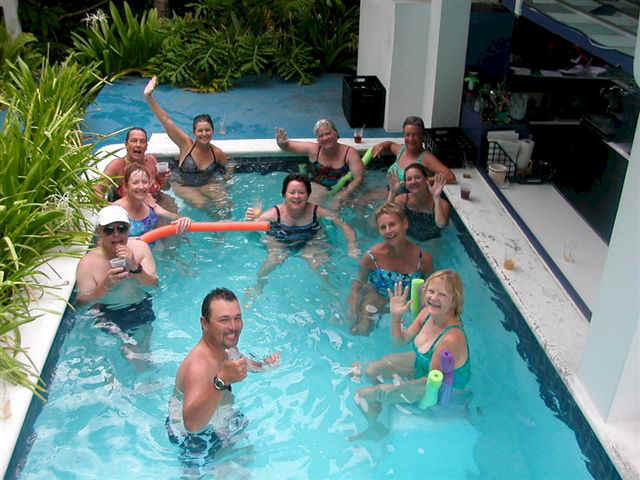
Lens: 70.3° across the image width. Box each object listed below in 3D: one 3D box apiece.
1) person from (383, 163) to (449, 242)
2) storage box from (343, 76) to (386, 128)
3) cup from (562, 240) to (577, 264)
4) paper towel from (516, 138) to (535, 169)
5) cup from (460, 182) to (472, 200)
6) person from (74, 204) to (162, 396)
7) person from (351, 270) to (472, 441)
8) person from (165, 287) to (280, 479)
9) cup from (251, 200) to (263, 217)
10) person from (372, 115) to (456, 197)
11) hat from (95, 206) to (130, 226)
[{"bbox_3d":[1.398,-0.480,6.553,0.870,1.192,0.678,5,35,21],"label":"person"},{"bbox_3d":[0.954,-2.848,9.471,0.604,0.773,1.125,-1,34,0],"label":"storage box"},{"bbox_3d":[3.075,0.150,5.616,0.162,0.285,0.077,-2,0,6],"label":"cup"},{"bbox_3d":[3.356,-1.382,7.395,0.304,0.484,0.210,2,32,2],"label":"paper towel"},{"bbox_3d":[2.199,-0.747,6.957,0.216,0.238,0.218,-2,25,1],"label":"cup"},{"bbox_3d":[-2.185,0.687,5.099,0.676,2.099,0.845,20,30,35],"label":"person"},{"bbox_3d":[0.826,1.126,4.313,1.223,1.708,0.755,-3,17,-19],"label":"person"},{"bbox_3d":[-0.874,1.358,4.111,0.587,1.510,0.671,18,45,9],"label":"person"},{"bbox_3d":[-0.965,-0.466,6.907,0.188,0.229,0.264,1,58,2],"label":"cup"},{"bbox_3d":[1.463,-1.266,7.511,1.497,1.478,0.865,25,52,38],"label":"person"},{"bbox_3d":[-2.186,-0.246,4.753,0.283,0.175,0.262,-19,37,-29],"label":"hat"}]
